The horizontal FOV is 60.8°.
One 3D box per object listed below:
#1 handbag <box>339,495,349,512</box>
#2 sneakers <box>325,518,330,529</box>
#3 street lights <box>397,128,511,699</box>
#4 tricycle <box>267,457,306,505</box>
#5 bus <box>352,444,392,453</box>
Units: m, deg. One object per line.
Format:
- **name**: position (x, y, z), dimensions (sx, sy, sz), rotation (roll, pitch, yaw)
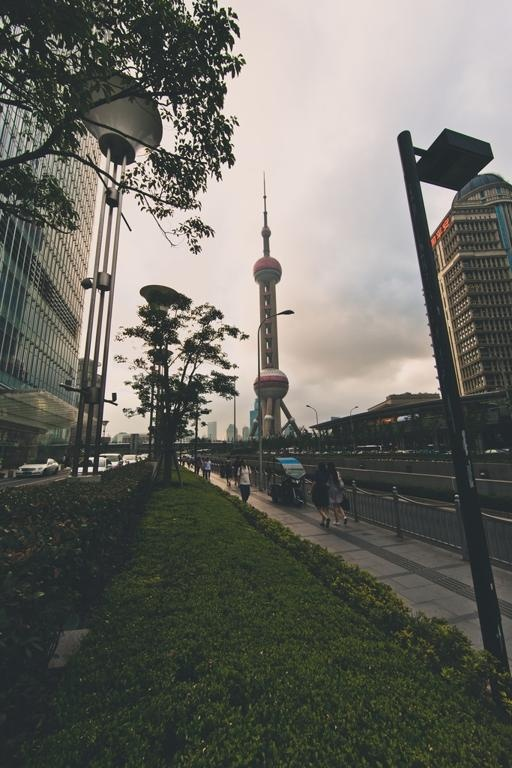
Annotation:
- **handbag**: position (2.307, 3.180, 11.444), dimensions (0.173, 0.404, 0.591), rotation (-1, -7, 16)
- **sneakers**: position (1.761, 3.539, 10.912), dimensions (0.115, 0.235, 0.186), rotation (1, -6, 0)
- **street lights**: position (1.794, -0.109, 4.074), dimensions (0.789, 5.110, 0.904), rotation (4, -6, -39)
- **tricycle**: position (1.214, 3.779, 16.702), dimensions (0.665, 1.804, 2.650), rotation (-2, -3, -15)
- **bus**: position (18.679, 10.817, 70.390), dimensions (5.818, 2.420, 2.041), rotation (-5, -8, 8)
